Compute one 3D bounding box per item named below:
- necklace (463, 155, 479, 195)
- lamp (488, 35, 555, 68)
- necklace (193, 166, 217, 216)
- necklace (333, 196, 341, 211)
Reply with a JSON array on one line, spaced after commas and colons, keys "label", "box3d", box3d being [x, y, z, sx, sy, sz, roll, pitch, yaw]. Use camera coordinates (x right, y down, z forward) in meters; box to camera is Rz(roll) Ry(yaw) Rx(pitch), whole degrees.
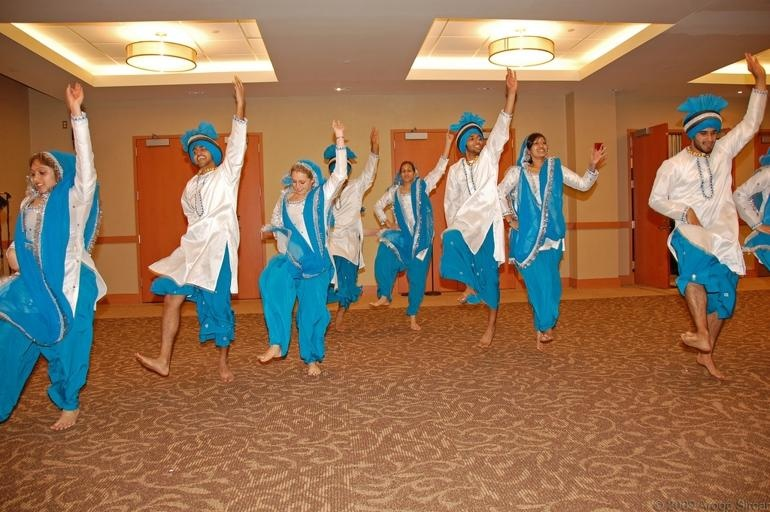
[{"label": "necklace", "box3d": [0.934, -0.872, 5.913, 0.110, 0.359, 0.065, -10, -29, 18]}, {"label": "lamp", "box3d": [1.933, -2.939, 7.746, 0.886, 0.333, 0.775, -10, 14, -40]}, {"label": "necklace", "box3d": [-1.633, -0.588, 5.037, 0.284, 0.411, 0.098, -6, -10, 28]}, {"label": "necklace", "box3d": [-0.590, -0.621, 6.638, 0.144, 0.198, 0.071, 0, -9, -4]}]
